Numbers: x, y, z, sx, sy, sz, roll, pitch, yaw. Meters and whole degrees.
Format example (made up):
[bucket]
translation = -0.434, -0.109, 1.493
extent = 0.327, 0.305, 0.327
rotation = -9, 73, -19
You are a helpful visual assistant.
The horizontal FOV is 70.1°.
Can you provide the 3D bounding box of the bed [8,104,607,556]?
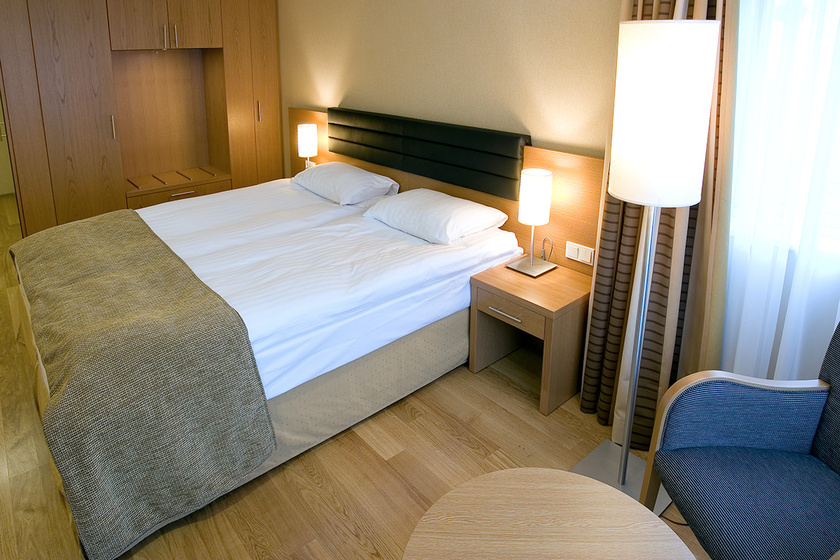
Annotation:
[bed]
translation = -0.800, 0.589, 4.021
extent = 2.747, 1.395, 2.677
rotation = -19, 33, -35
